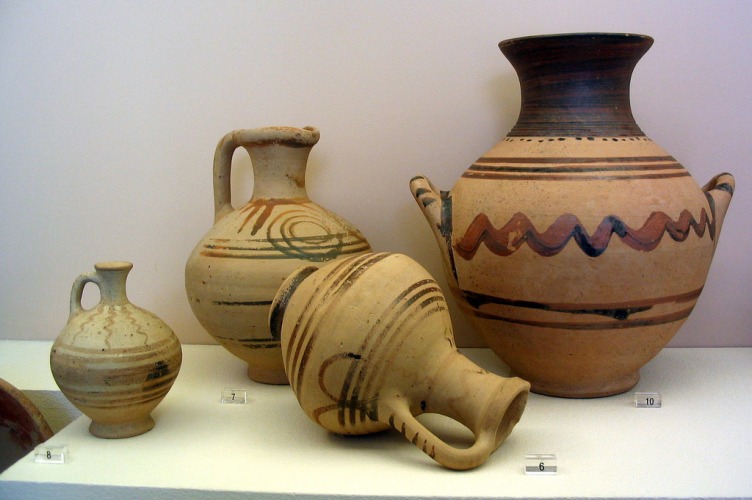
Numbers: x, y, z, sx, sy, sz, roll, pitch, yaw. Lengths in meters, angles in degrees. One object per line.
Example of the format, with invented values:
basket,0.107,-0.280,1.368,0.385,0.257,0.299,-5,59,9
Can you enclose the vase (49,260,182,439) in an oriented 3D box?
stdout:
vase,-0.673,0.255,1.799,0.326,0.418,0.334,6,9,32

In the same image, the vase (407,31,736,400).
vase,0.596,-0.112,2.087,0.997,0.974,0.815,-1,12,10

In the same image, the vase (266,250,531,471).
vase,0.041,0.256,1.654,0.642,0.456,0.226,7,16,16
